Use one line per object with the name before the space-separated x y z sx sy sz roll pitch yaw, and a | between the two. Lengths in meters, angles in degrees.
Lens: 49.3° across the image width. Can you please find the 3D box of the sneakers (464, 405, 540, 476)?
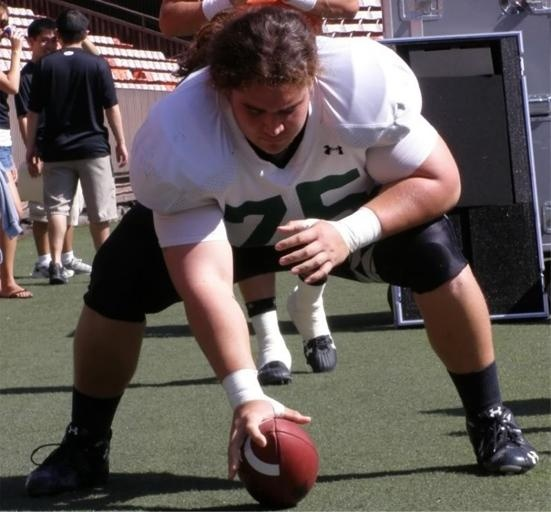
sneakers | 0.590 0.483 1.580 0.124 0.155 0.332 -10 -6 4

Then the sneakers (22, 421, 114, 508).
sneakers | -0.520 0.537 1.540 0.093 0.205 0.267 -15 -21 34

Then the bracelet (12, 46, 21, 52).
bracelet | -1.985 -1.596 4.564 0.041 0.035 0.042 1 0 -30

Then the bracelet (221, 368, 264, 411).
bracelet | -0.066 0.267 1.229 0.065 0.067 0.081 -27 -8 -8

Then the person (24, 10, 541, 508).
person | 0.065 -0.162 1.877 1.101 1.125 1.236 -1 0 12

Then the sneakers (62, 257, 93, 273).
sneakers | -1.667 0.071 4.996 0.189 0.094 0.075 17 35 -16

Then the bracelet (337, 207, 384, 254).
bracelet | 0.190 -0.066 1.394 0.059 0.100 0.147 2 6 43

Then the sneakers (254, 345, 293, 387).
sneakers | 0.007 0.469 2.482 0.097 0.134 0.273 -4 -12 -2
